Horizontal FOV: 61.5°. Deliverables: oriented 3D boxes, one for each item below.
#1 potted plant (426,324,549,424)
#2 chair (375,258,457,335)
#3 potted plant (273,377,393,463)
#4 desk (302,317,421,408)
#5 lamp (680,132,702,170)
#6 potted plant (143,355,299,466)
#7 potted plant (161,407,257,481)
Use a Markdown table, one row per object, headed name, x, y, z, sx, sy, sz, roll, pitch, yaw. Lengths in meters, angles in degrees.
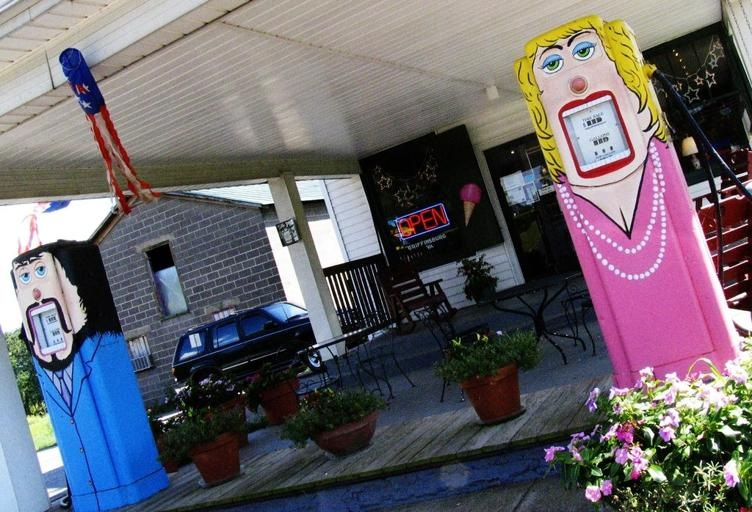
| name | x | y | z | sx | sy | sz | roll | pitch | yaw |
| --- | --- | --- | --- | --- | --- | --- | --- | --- | --- |
| potted plant | 1.027 | 1.131 | 6.101 | 0.723 | 0.855 | 0.918 | 6 | -27 | -41 |
| chair | 0.753 | 0.590 | 10.323 | 0.987 | 1.315 | 1.305 | -10 | 0 | -26 |
| potted plant | -0.312 | 1.722 | 6.483 | 0.897 | 0.563 | 0.863 | -13 | -15 | -25 |
| desk | -0.226 | 1.669 | 9.576 | 1.525 | 0.737 | 1.471 | -5 | -4 | -17 |
| lamp | 5.001 | -1.656 | 10.053 | 0.242 | 0.578 | 0.789 | -19 | -3 | 27 |
| potted plant | -1.915 | 1.866 | 7.746 | 1.466 | 0.574 | 1.594 | -19 | -9 | -8 |
| potted plant | -1.822 | 2.028 | 7.071 | 0.902 | 0.660 | 0.884 | -8 | -9 | -6 |
